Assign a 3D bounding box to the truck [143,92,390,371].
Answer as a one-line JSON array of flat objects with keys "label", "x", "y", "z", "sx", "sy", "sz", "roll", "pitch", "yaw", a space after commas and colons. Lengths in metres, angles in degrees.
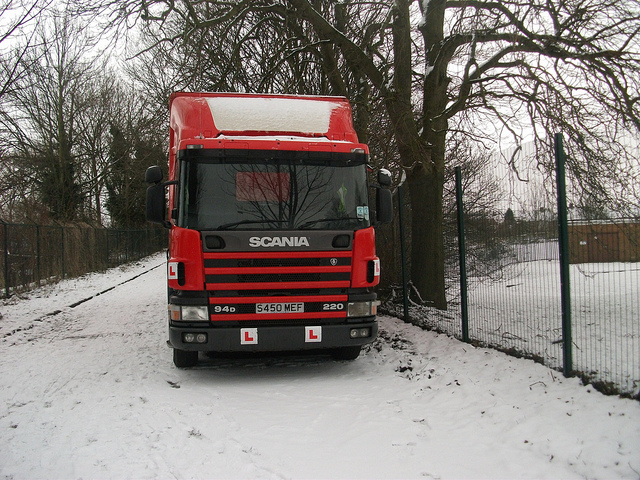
[{"label": "truck", "x": -1.280, "y": -0.248, "z": 11.130, "sx": 3.483, "sy": 4.924, "sz": 8.026, "roll": 0, "pitch": -3, "yaw": -8}]
